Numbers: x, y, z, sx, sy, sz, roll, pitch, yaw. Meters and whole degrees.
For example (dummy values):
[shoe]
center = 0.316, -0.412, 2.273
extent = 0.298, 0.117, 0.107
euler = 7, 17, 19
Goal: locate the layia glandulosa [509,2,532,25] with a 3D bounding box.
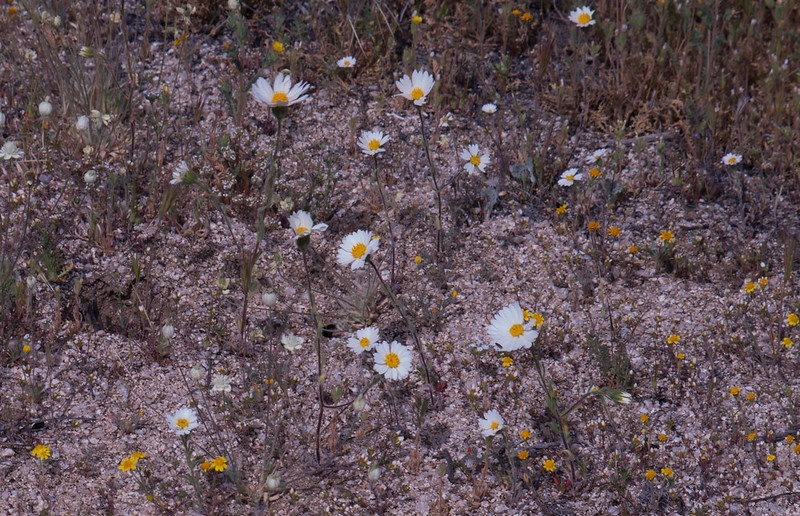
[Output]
[layia glandulosa]
center = 0.990, -1.995, 7.003
extent = 0.167, 0.193, 0.195
euler = 2, 65, 8
